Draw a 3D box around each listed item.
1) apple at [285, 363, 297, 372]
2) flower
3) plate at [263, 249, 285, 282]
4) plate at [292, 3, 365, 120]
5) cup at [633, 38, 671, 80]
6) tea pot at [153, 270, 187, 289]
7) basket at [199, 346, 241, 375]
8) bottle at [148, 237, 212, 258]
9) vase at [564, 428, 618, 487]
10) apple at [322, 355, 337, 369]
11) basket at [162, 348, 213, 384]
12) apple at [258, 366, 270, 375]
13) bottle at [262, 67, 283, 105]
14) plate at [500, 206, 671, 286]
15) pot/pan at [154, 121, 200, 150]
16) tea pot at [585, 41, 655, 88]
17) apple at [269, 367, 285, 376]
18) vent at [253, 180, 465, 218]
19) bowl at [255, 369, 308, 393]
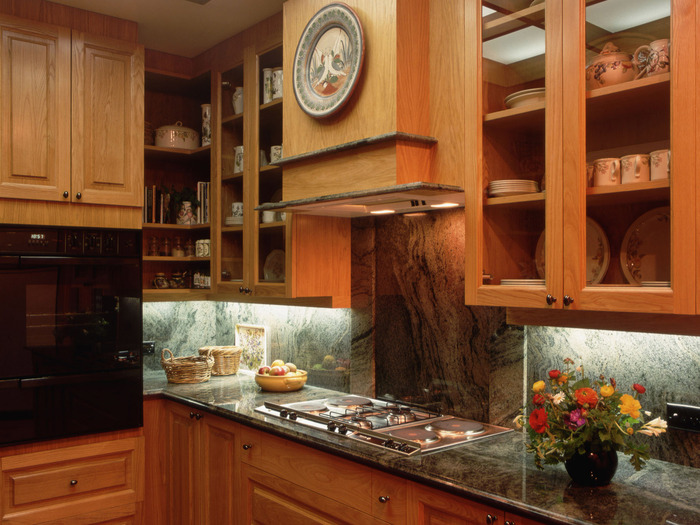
[{"bbox_3d":[-0.374,0.676,3.388,0.052,0.047,0.047,10,26,-6],"label":"apple"},{"bbox_3d":[0.843,0.448,1.976,0.483,0.351,0.494,2,-2,-12],"label":"flower"},{"bbox_3d":[-0.447,0.019,3.132,0.018,0.186,0.243,1,-5,-37],"label":"plate"},{"bbox_3d":[-0.092,-0.985,2.619,0.054,0.701,0.620,6,-5,-37],"label":"plate"},{"bbox_3d":[1.015,-0.683,1.787,0.077,0.098,0.106,3,1,-9],"label":"cup"},{"bbox_3d":[-1.313,0.125,3.896,0.247,0.134,0.258,-2,-3,0],"label":"tea pot"},{"bbox_3d":[-0.925,0.680,3.875,0.207,0.175,0.239,0,-1,-22],"label":"basket"},{"bbox_3d":[-1.229,-0.106,3.972,0.477,0.156,0.158,2,1,15],"label":"bottle"},{"bbox_3d":[0.842,0.673,1.937,0.184,0.186,0.187,-3,2,-27],"label":"vase"},{"bbox_3d":[-0.129,0.623,3.339,0.070,0.069,0.094,-18,38,1],"label":"apple"},{"bbox_3d":[-1.122,0.714,3.684,0.230,0.169,0.296,0,1,-26],"label":"basket"},{"bbox_3d":[-0.540,0.672,3.351,0.043,0.032,0.056,1,6,2],"label":"apple"},{"bbox_3d":[-0.460,-1.063,3.173,0.041,0.255,0.220,1,-4,-34],"label":"bottle"},{"bbox_3d":[0.811,-0.056,1.708,0.026,0.215,0.463,1,7,-36],"label":"plate"},{"bbox_3d":[-1.233,-0.907,3.862,0.323,0.232,0.188,0,-4,-26],"label":"pot/pan"},{"bbox_3d":[0.940,-0.680,1.861,0.108,0.147,0.172,-3,4,-29],"label":"tea pot"},{"bbox_3d":[-0.446,0.674,3.292,0.054,0.058,0.054,4,0,-8],"label":"apple"},{"bbox_3d":[0.121,-0.293,2.692,1.053,0.077,0.580,-4,-4,37],"label":"vent"},{"bbox_3d":[-0.421,0.732,3.288,0.167,0.073,0.179,1,-3,0],"label":"bowl"}]
